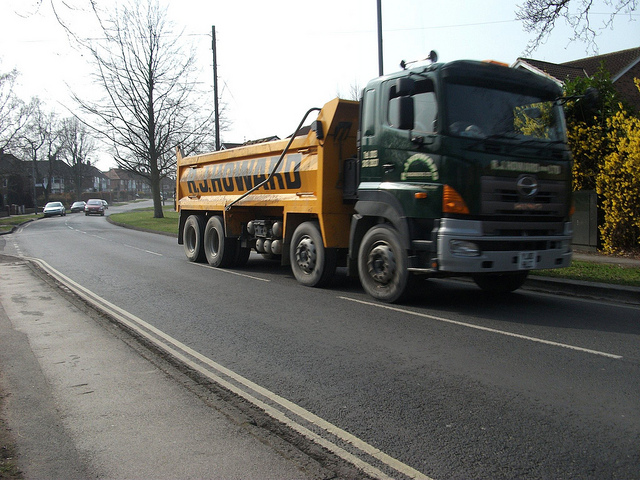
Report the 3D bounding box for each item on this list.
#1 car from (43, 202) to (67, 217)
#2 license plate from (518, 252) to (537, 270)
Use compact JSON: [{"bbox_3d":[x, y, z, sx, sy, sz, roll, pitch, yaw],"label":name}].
[{"bbox_3d":[-30.080,-3.463,52.761,1.637,1.246,3.596,0,-1,-24],"label":"car"},{"bbox_3d":[3.258,0.324,7.276,0.392,0.269,0.063,-5,8,-32],"label":"license plate"}]
